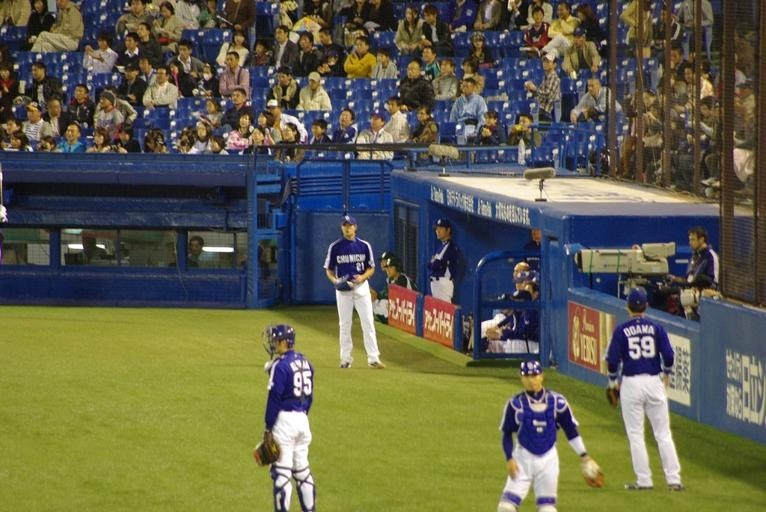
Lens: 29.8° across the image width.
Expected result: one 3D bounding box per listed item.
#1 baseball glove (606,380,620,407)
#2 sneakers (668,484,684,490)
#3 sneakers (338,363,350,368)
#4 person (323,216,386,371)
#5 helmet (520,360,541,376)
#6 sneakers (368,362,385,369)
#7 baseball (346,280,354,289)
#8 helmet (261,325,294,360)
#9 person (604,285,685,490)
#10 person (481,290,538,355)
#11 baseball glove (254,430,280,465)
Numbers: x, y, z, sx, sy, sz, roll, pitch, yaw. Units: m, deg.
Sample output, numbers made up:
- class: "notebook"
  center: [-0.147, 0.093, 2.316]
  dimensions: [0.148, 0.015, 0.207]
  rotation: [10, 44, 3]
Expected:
- class: "baseball glove"
  center: [3.409, 2.021, 21.209]
  dimensions: [0.141, 0.452, 0.181]
  rotation: [2, -4, 16]
- class: "sneakers"
  center: [4.299, 3.352, 20.933]
  dimensions: [0.122, 0.061, 0.101]
  rotation: [-3, 0, 9]
- class: "sneakers"
  center: [-0.663, 1.972, 25.785]
  dimensions: [0.146, 0.098, 0.092]
  rotation: [-1, 7, 1]
- class: "person"
  center: [-0.503, 0.654, 25.808]
  dimensions: [1.002, 2.695, 0.930]
  rotation: [0, 3, 0]
- class: "helmet"
  center: [2.044, 1.547, 19.778]
  dimensions: [0.199, 0.141, 0.220]
  rotation: [-3, -3, 4]
- class: "sneakers"
  center: [-0.098, 1.966, 25.759]
  dimensions: [0.249, 0.121, 0.118]
  rotation: [-1, 3, -2]
- class: "baseball"
  center: [-0.567, 0.525, 25.489]
  dimensions: [0.135, 0.150, 0.091]
  rotation: [1, 3, 7]
- class: "helmet"
  center: [-1.487, 1.224, 20.398]
  dimensions: [0.446, 0.499, 0.418]
  rotation: [2, -1, 5]
- class: "person"
  center: [3.884, 1.953, 21.137]
  dimensions: [1.133, 2.862, 0.688]
  rotation: [1, 3, 15]
- class: "person"
  center: [2.382, 1.182, 26.213]
  dimensions: [1.096, 1.222, 0.748]
  rotation: [-12, 16, -9]
- class: "baseball glove"
  center: [-1.529, 2.650, 19.867]
  dimensions: [0.315, 0.397, 0.433]
  rotation: [-13, -4, -29]
